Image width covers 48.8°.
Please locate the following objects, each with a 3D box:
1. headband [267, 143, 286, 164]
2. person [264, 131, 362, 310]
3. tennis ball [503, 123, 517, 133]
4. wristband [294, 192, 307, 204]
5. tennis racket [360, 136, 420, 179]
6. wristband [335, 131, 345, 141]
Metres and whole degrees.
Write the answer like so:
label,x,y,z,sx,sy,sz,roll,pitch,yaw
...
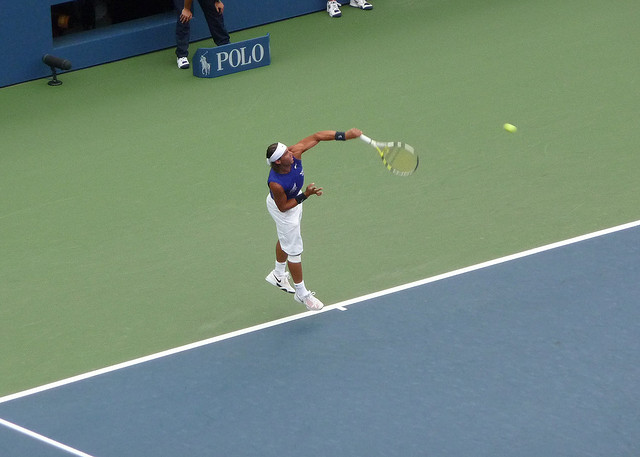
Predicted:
label,x,y,z,sx,sy,sz,roll,pitch,yaw
headband,-0.575,-0.974,9.370,0.250,0.105,0.198,-42,10,14
person,-0.112,-0.158,10.237,1.013,2.500,1.599,20,36,28
tennis ball,3.698,-1.956,13.717,0.238,0.134,0.192,2,33,13
wristband,-0.259,-0.415,9.551,0.132,0.106,0.107,-26,76,-6
tennis racket,1.057,-1.029,9.972,0.594,0.760,0.699,6,34,19
wristband,0.302,-1.321,10.124,0.166,0.110,0.165,8,35,22
